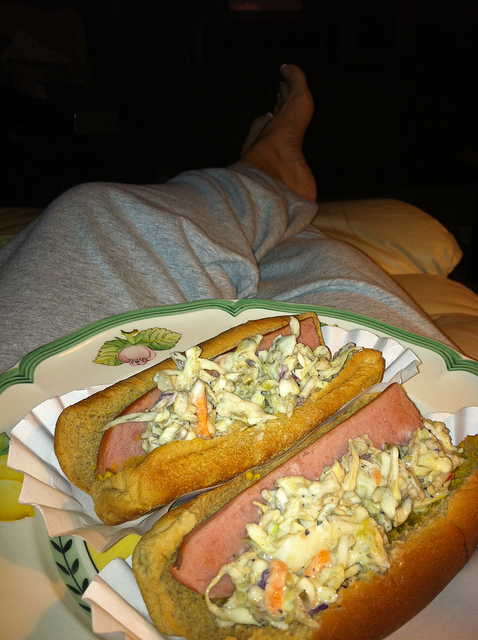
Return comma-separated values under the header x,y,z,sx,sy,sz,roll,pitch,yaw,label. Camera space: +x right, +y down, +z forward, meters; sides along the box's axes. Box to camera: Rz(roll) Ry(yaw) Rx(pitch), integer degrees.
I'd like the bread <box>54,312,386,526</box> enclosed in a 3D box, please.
x,y,z,sx,sy,sz,roll,pitch,yaw,label
-0.002,0.141,0.828,0.538,0.141,0.279,-26,37,-30,bread

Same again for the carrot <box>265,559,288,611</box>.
x,y,z,sx,sy,sz,roll,pitch,yaw,label
0.041,0.299,0.546,0.026,0.043,0.012,4,-15,-2,carrot

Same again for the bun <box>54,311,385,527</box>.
x,y,z,sx,sy,sz,roll,pitch,yaw,label
-0.014,0.148,0.808,0.507,0.129,0.256,-23,42,-26,bun

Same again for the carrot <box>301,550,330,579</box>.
x,y,z,sx,sy,sz,roll,pitch,yaw,label
0.087,0.283,0.566,0.020,0.039,0.009,39,-2,-10,carrot

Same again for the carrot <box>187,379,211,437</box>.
x,y,z,sx,sy,sz,roll,pitch,yaw,label
-0.060,0.124,0.687,0.026,0.076,0.022,-12,-5,-10,carrot
